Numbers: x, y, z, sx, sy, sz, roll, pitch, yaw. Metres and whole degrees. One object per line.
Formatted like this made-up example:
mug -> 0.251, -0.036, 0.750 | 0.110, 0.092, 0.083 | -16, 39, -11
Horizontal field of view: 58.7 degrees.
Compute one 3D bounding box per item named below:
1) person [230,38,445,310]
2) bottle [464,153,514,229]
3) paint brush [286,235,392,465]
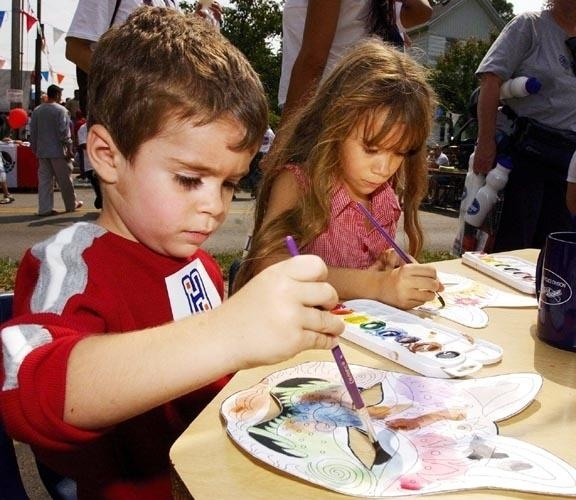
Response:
person -> 0.281, -0.119, 2.005 | 0.652, 1.249, 0.800 | -11, 39, -22
bottle -> 1.036, -0.299, 2.664 | 0.223, 0.374, 0.091 | 0, 12, -21
paint brush -> 0.051, 0.117, 0.875 | 0.086, 0.463, 0.066 | -37, -20, 35
